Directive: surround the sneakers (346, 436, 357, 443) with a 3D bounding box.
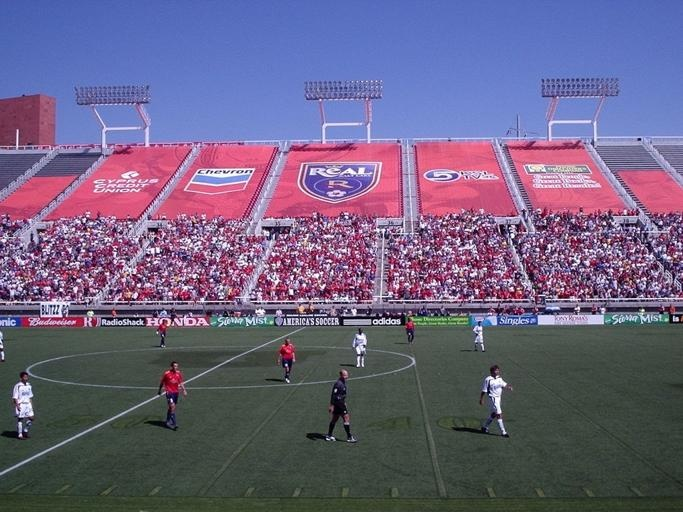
[{"bbox_3d":[0.490,8.023,35.250,0.196,0.166,0.431,2,-2,27],"label":"sneakers"}]

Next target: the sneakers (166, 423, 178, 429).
[{"bbox_3d":[-7.728,7.788,36.966,0.214,0.225,0.629,11,3,-41],"label":"sneakers"}]

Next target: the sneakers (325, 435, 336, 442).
[{"bbox_3d":[-0.445,8.028,35.523,0.526,0.182,0.187,-1,2,10],"label":"sneakers"}]

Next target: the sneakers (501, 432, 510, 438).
[{"bbox_3d":[7.268,7.868,35.650,0.306,0.211,0.317,1,9,7],"label":"sneakers"}]

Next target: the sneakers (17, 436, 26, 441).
[{"bbox_3d":[-14.193,8.060,35.867,0.434,0.226,0.129,-4,-8,13],"label":"sneakers"}]

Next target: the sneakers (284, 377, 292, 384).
[{"bbox_3d":[-2.932,6.854,44.398,0.252,0.244,0.651,1,-13,-6],"label":"sneakers"}]
